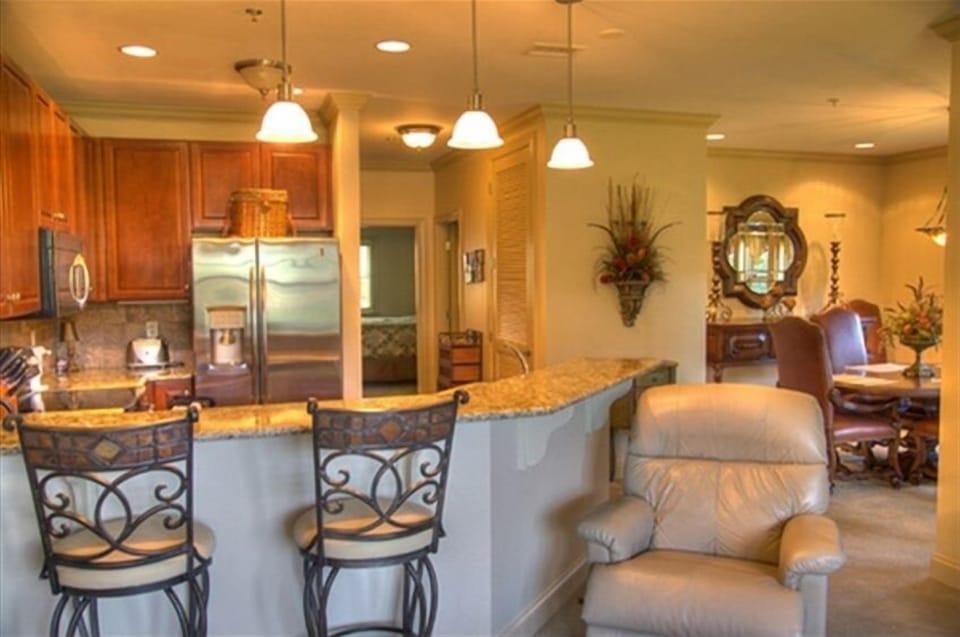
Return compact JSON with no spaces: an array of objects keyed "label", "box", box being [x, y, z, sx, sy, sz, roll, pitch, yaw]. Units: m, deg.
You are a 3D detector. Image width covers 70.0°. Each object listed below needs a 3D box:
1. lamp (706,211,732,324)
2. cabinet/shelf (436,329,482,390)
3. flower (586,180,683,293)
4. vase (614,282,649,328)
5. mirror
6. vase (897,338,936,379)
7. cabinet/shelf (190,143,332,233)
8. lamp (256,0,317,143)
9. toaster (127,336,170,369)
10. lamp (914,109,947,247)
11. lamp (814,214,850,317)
[{"label":"lamp","box":[2.675,-0.600,7.749,0.259,1.239,0.425,-3,1,20]},{"label":"cabinet/shelf","box":[-0.350,0.549,7.655,0.451,0.762,0.598,0,1,-44]},{"label":"flower","box":[1.350,-0.764,6.408,0.945,0.931,0.706,0,-3,-8]},{"label":"vase","box":[1.377,-0.140,6.144,0.281,0.403,0.344,-3,1,13]},{"label":"mirror","box":[3.195,-0.782,7.948,1.366,1.462,0.099,-1,2,-17]},{"label":"vase","box":[3.601,0.326,5.650,0.342,0.343,0.325,-1,-3,3]},{"label":"cabinet/shelf","box":[-1.948,-1.142,5.962,1.251,0.767,0.409,-8,19,-36]},{"label":"lamp","box":[-1.059,-1.338,3.713,0.275,0.705,0.914,-4,0,-14]},{"label":"toaster","box":[-2.737,0.277,5.668,0.263,0.186,0.247,0,-2,-15]},{"label":"lamp","box":[4.470,-1.062,6.797,0.257,0.790,2.651,-2,0,33]},{"label":"lamp","box":[4.176,-0.707,8.111,0.282,1.099,0.537,-3,1,27]}]
